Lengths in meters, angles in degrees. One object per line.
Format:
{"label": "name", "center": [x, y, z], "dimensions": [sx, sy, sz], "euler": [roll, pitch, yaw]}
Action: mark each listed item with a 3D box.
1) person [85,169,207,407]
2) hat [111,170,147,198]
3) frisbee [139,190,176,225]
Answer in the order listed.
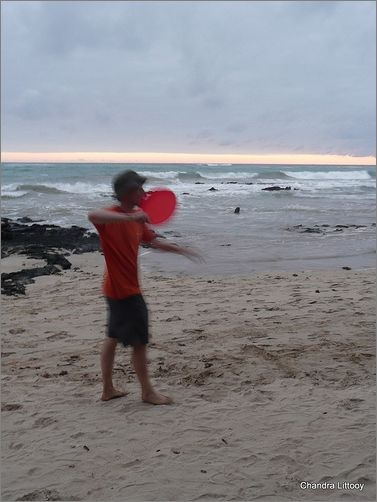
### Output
{"label": "person", "center": [-0.365, 0.298, 3.370], "dimensions": [0.609, 1.776, 0.718], "euler": [-1, 6, -5]}
{"label": "hat", "center": [-0.420, -0.470, 3.315], "dimensions": [0.220, 0.213, 0.194], "euler": [2, 6, 17]}
{"label": "frisbee", "center": [-0.216, -0.311, 3.294], "dimensions": [0.276, 0.254, 0.188], "euler": [-5, 7, -40]}
